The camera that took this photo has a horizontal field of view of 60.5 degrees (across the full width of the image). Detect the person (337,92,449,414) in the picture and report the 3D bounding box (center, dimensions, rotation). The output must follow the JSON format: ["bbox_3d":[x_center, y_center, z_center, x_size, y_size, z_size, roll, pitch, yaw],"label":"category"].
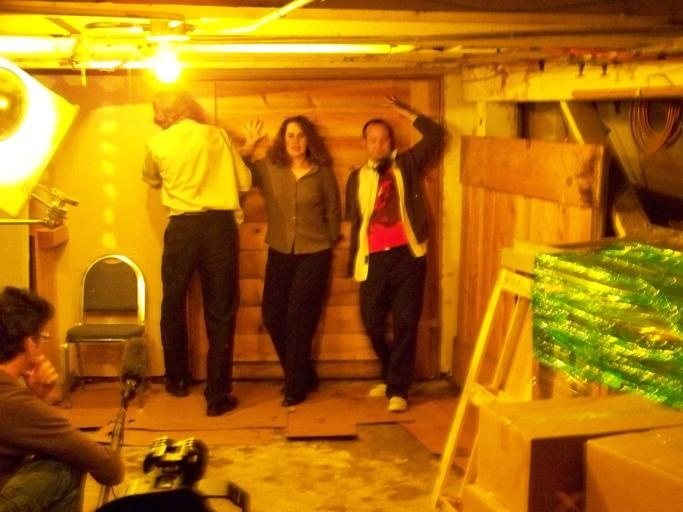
[{"bbox_3d":[0.430,-0.055,4.866,0.802,2.491,0.913,0,13,0],"label":"person"}]

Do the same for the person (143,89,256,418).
[{"bbox_3d":[-1.121,-0.042,4.674,0.812,2.546,0.638,-2,13,-10],"label":"person"}]

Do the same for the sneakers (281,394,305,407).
[{"bbox_3d":[-0.405,1.185,4.852,0.130,0.046,0.093,-1,2,-33],"label":"sneakers"}]

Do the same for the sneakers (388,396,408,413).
[{"bbox_3d":[0.446,1.184,4.745,0.172,0.117,0.135,3,13,11],"label":"sneakers"}]
